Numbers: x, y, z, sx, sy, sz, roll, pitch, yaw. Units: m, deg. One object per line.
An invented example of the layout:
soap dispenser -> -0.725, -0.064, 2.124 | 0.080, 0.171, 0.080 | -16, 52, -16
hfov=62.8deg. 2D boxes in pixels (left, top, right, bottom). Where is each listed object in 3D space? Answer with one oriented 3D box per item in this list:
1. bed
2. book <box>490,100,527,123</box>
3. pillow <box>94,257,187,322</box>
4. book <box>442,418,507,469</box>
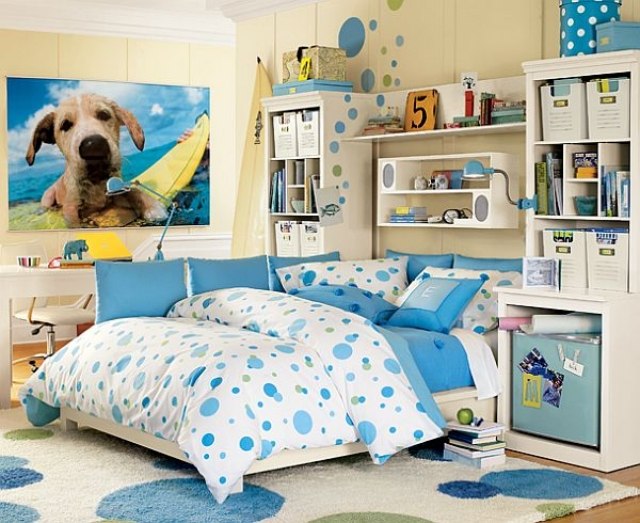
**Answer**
bed -> -0.033, 0.493, 2.808 | 1.680, 0.734, 1.616 | 2, -1, -39
book -> 1.275, -0.970, 3.521 | 0.188, 0.111, 0.183 | -5, 5, -29
pillow -> -1.146, 0.191, 3.343 | 0.410, 0.247, 0.100 | 1, -14, -35
book -> 0.810, 0.915, 2.671 | 0.302, 0.183, 0.217 | 0, 0, -13
